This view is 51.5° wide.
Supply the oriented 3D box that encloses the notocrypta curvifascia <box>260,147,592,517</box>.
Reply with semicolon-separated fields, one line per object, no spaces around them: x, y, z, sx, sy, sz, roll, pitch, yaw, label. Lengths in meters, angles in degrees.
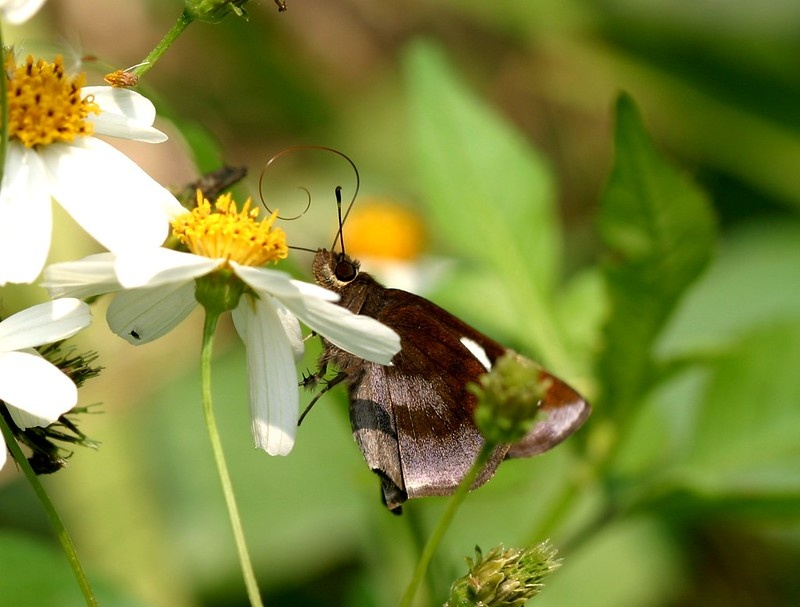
0.049;0.173;1.720;0.649;0.474;0.659;39;13;17;notocrypta curvifascia
